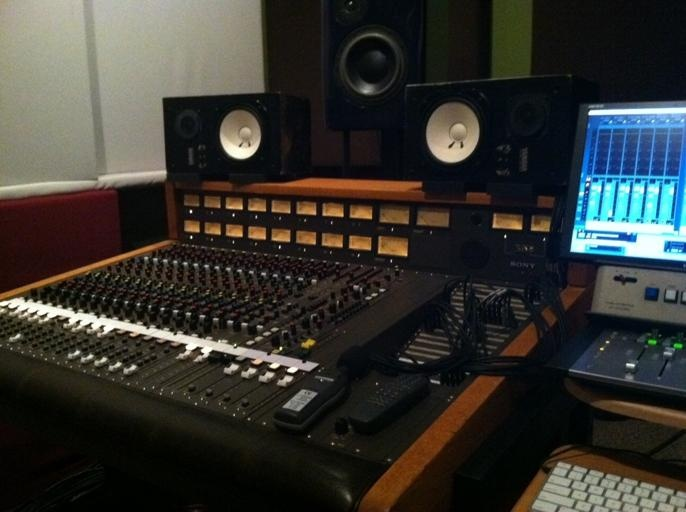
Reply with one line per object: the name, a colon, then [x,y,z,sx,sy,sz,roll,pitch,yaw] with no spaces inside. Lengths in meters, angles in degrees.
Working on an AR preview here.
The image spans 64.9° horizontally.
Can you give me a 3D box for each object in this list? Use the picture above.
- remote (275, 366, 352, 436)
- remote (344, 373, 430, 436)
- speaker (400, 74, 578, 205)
remote: [-0.072,0.307,1.207,0.079,0.059,0.169,8,25,31]
remote: [0.089,0.316,1.218,0.083,0.051,0.186,15,31,41]
speaker: [0.481,-0.463,1.809,0.649,0.446,0.383,9,20,33]
